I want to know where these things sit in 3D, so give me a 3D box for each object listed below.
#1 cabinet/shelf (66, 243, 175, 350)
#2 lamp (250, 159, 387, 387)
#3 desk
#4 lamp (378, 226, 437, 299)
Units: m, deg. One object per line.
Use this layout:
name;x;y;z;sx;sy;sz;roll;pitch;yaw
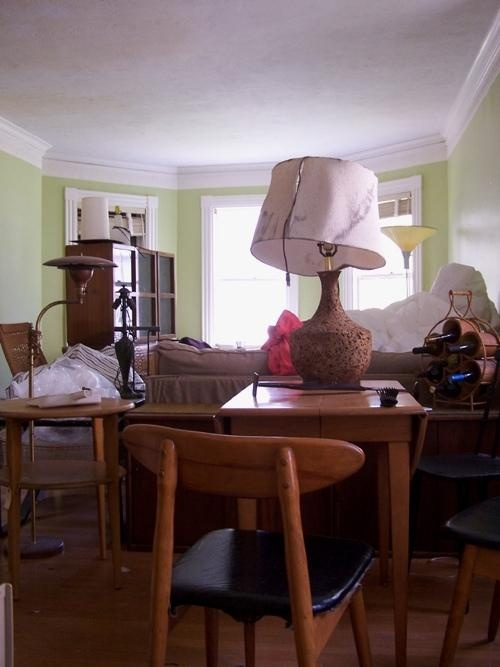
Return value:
cabinet/shelf;-1.092;-0.305;5.154;0.339;0.679;1.141;0;2;4
lamp;0.201;-0.164;1.767;0.400;0.599;0.459;-1;0;0
desk;0.254;0.424;1.666;0.563;0.760;0.705;-1;-5;8
lamp;1.458;-0.710;5.709;0.443;0.618;0.946;-1;0;14
